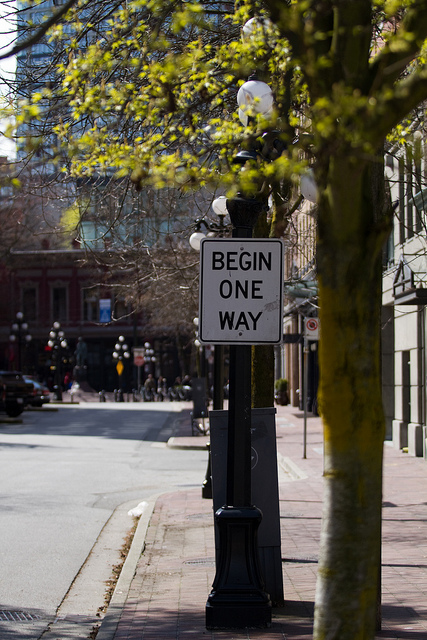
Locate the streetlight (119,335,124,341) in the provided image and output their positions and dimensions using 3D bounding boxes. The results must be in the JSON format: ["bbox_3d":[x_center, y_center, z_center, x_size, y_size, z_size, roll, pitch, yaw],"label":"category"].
[{"bbox_3d":[-4.616,0.838,59.493,0.253,0.306,0.280,-4,-14,40],"label":"streetlight"}]

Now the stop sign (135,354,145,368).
[{"bbox_3d":[-3.407,1.793,55.705,0.205,0.622,0.623,-2,-29,-26],"label":"stop sign"}]

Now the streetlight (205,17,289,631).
[{"bbox_3d":[0.196,-0.079,7.526,0.527,3.102,0.867,-2,-1,10],"label":"streetlight"}]
